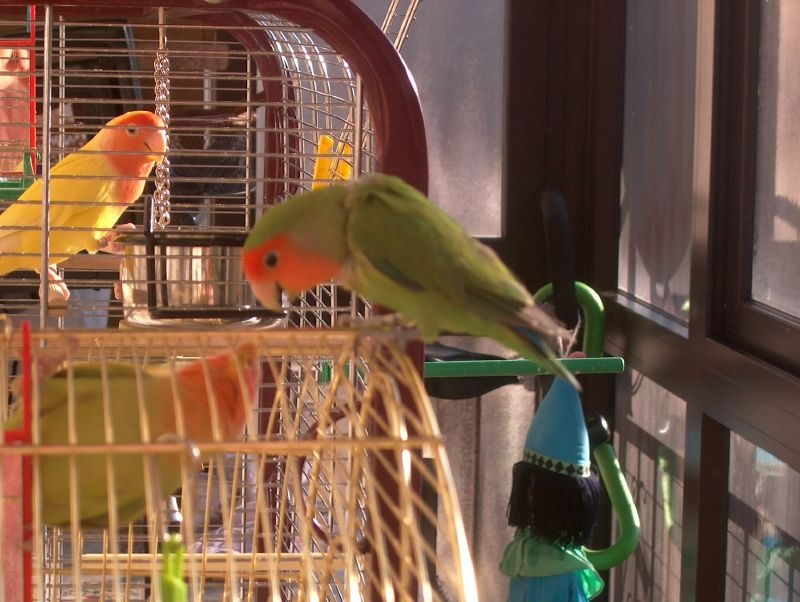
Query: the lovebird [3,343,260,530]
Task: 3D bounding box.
[{"bbox_3d":[-0.298,0.152,1.504,0.275,0.195,0.157,-4,-8,7],"label":"lovebird"}]
